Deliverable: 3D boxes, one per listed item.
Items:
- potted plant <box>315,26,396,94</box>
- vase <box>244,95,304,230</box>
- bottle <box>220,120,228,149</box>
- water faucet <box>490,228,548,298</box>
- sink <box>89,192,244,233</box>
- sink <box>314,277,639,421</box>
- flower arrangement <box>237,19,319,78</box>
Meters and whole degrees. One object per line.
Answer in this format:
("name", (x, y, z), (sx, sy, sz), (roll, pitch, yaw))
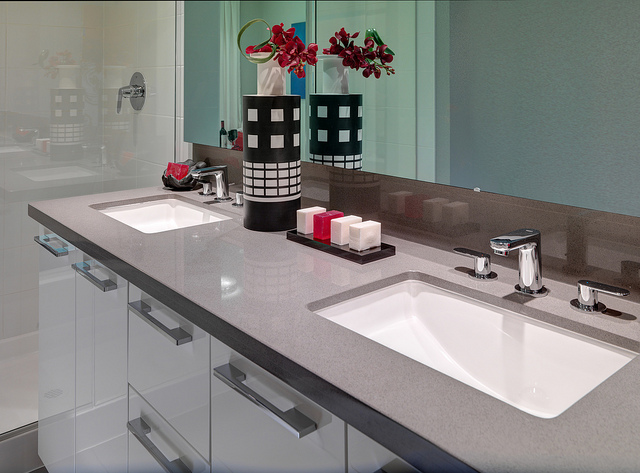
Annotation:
("potted plant", (0.127, -0.618, 1.606), (0.261, 0.212, 0.267), (-1, 19, -25))
("vase", (-0.166, -0.241, 1.481), (0.210, 0.448, 0.192), (-3, 16, -3))
("bottle", (-0.462, -0.488, 2.114), (0.020, 0.133, 0.065), (-15, 21, -39))
("water faucet", (0.465, 0.071, 1.032), (0.162, 0.154, 0.078), (-12, 13, -33))
("sink", (-0.606, -0.096, 1.888), (0.613, 0.149, 0.268), (2, 15, 11))
("sink", (0.390, 0.254, 1.009), (0.267, 0.119, 0.538), (-6, 15, -45))
("flower arrangement", (-0.132, -0.620, 1.555), (0.263, 0.143, 0.163), (26, 63, 4))
